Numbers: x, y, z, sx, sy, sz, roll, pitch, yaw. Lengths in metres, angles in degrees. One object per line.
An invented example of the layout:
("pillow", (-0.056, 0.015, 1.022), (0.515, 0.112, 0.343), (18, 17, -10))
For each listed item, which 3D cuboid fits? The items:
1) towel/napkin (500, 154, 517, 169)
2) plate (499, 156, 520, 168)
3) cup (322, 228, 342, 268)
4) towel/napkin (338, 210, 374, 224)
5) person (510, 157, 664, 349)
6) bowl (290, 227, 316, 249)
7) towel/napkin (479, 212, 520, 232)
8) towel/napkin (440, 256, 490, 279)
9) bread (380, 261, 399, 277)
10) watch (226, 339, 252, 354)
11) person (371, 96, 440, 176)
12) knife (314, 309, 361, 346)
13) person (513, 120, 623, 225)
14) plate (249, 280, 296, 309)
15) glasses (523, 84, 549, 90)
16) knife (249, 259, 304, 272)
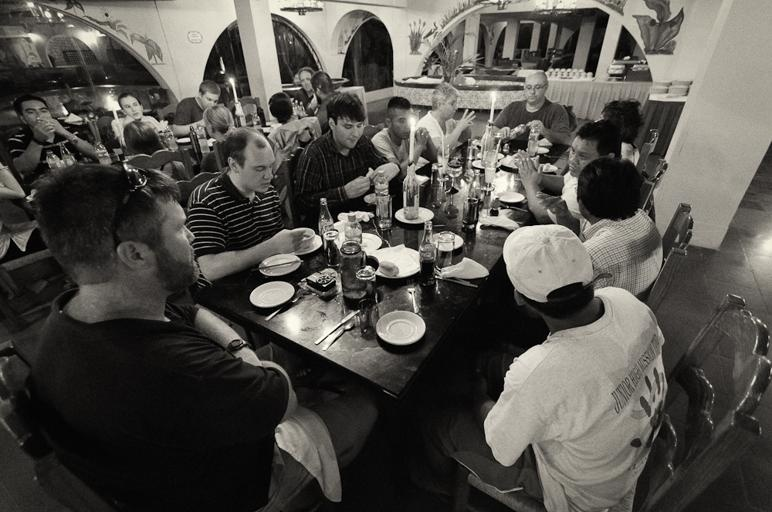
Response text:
("towel/napkin", (1.156, -0.857, 4.736), (0.143, 0.031, 0.151), (28, 48, 31))
("plate", (1.160, -0.884, 4.733), (0.152, 0.026, 0.148), (28, 46, 34))
("cup", (-0.367, -0.041, 3.394), (0.120, 0.197, 0.173), (-8, 36, -11))
("towel/napkin", (-0.233, -0.316, 3.804), (0.192, 0.047, 0.119), (13, 24, 27))
("person", (1.531, 0.019, 3.724), (0.831, 1.526, 0.670), (28, 50, 36))
("bowl", (-0.559, -0.124, 3.474), (0.119, 0.118, 0.155), (19, 32, 25))
("towel/napkin", (0.850, -0.245, 3.727), (0.212, 0.058, 0.146), (20, 32, 22))
("towel/napkin", (0.513, 0.096, 3.289), (0.191, 0.064, 0.177), (17, 28, 14))
("bread", (0.021, 0.093, 3.292), (0.131, 0.073, 0.078), (1, 29, 2))
("watch", (-0.878, 0.540, 3.017), (0.107, 0.104, 0.064), (-9, 81, -10))
("person", (0.159, -1.027, 4.997), (0.584, 1.065, 0.559), (9, 47, 15))
("knife", (-0.292, 0.443, 3.036), (0.046, 0.038, 0.293), (34, 52, 24))
("person", (1.425, -0.635, 3.958), (0.624, 1.067, 0.555), (9, 52, 8))
("plate", (-0.722, 0.252, 3.179), (0.191, 0.027, 0.185), (-25, 45, -31))
("glasses", (1.656, -1.850, 5.507), (0.234, 0.073, 0.174), (3, 29, 6))
("knife", (-0.728, 0.067, 3.361), (0.387, 0.041, 0.054), (-4, 73, -14))
